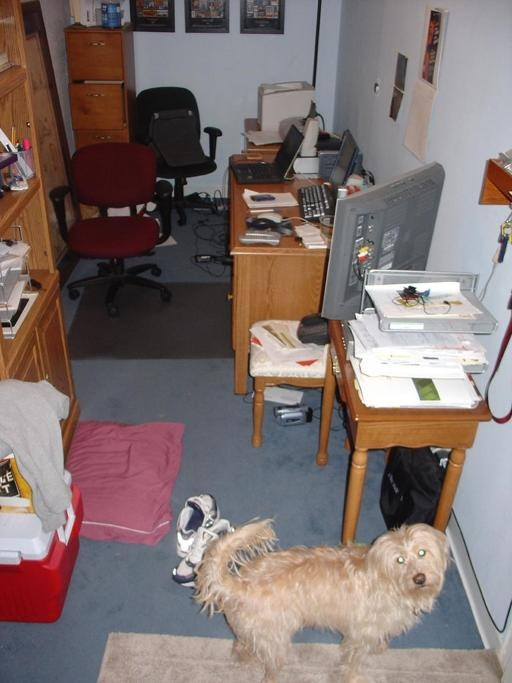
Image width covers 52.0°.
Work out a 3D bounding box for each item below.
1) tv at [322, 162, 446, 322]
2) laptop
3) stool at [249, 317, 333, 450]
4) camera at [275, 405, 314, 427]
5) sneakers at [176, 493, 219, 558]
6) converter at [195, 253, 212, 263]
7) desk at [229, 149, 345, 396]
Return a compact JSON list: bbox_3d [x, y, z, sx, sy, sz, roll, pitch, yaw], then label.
[{"bbox_3d":[0.438,-0.325,1.827,0.511,0.489,0.136,-25,40,-36],"label":"tv"},{"bbox_3d":[0.059,-1.103,3.305,0.409,0.285,0.471,-1,43,-6],"label":"laptop"},{"bbox_3d":[0.161,0.258,2.424,0.385,0.374,0.476,2,2,8],"label":"stool"},{"bbox_3d":[0.186,0.364,2.569,0.130,0.048,0.101,2,21,-15],"label":"camera"},{"bbox_3d":[-0.232,0.660,1.928,0.151,0.192,0.164,19,26,31],"label":"sneakers"},{"bbox_3d":[-0.418,-0.651,4.115,0.096,0.029,0.075,2,50,-4],"label":"converter"},{"bbox_3d":[0.141,-0.304,2.499,0.429,0.762,1.253,3,36,2],"label":"desk"}]
